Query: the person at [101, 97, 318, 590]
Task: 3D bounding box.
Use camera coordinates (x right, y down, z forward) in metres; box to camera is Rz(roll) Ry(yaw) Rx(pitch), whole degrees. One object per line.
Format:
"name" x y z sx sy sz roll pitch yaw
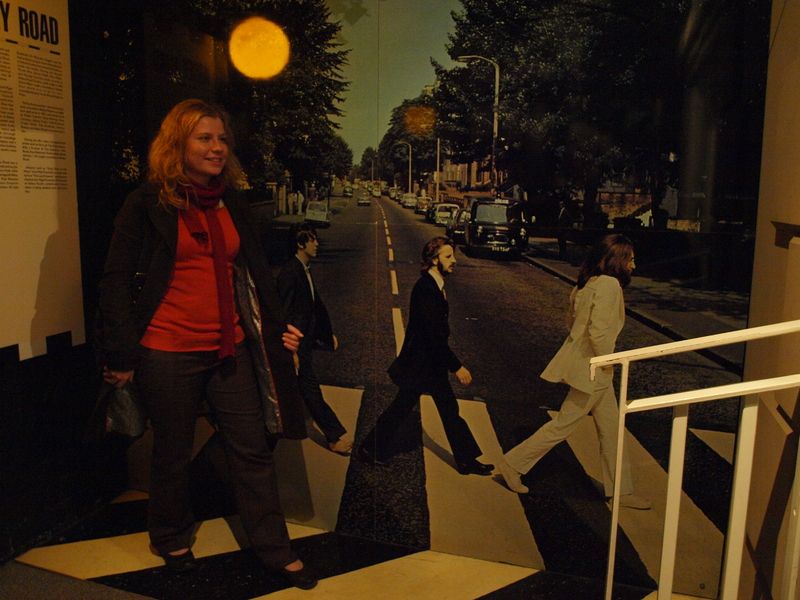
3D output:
"person" -1.283 0.284 4.373 1.162 3.130 0.735 -4 14 -25

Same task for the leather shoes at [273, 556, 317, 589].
"leather shoes" -0.676 1.741 4.268 0.320 0.099 0.119 9 15 40

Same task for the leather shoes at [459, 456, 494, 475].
"leather shoes" 0.506 1.108 4.508 0.254 0.125 0.093 -1 8 12

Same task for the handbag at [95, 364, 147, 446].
"handbag" -1.791 0.627 4.286 0.305 0.428 0.248 6 24 -8
